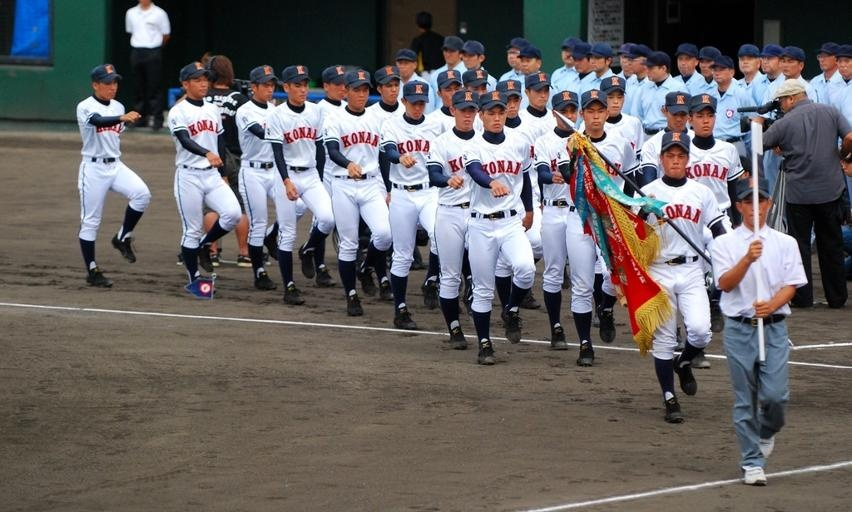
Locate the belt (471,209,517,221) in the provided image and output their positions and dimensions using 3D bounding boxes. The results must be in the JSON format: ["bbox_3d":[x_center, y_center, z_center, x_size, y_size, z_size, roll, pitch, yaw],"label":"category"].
[{"bbox_3d":[0.835,-0.499,16.011,0.548,0.115,0.129,1,1,-4],"label":"belt"}]

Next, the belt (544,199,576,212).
[{"bbox_3d":[1.676,-0.630,16.283,0.158,0.135,0.484,1,1,-37],"label":"belt"}]

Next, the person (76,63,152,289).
[{"bbox_3d":[-4.574,-1.183,18.797,1.031,3.283,1.237,2,0,-2],"label":"person"}]

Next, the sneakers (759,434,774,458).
[{"bbox_3d":[3.572,2.001,13.604,0.132,0.294,0.155,5,4,36],"label":"sneakers"}]

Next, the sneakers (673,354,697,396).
[{"bbox_3d":[2.999,1.386,15.051,0.227,0.516,0.251,-18,13,11],"label":"sneakers"}]

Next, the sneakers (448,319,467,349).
[{"bbox_3d":[0.403,1.008,16.512,0.245,0.366,0.260,2,0,4],"label":"sneakers"}]

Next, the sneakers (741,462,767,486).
[{"bbox_3d":[3.365,2.260,13.300,0.148,0.126,0.322,0,-2,-8],"label":"sneakers"}]

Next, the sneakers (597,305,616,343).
[{"bbox_3d":[2.317,0.886,16.664,0.201,0.452,0.205,-6,1,7],"label":"sneakers"}]

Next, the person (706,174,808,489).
[{"bbox_3d":[3.406,0.793,13.435,0.938,3.063,0.442,2,0,11],"label":"person"}]

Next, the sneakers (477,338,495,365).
[{"bbox_3d":[0.731,1.206,15.942,0.175,0.159,0.395,-1,8,0],"label":"sneakers"}]

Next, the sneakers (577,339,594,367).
[{"bbox_3d":[1.959,1.201,15.974,0.196,0.311,0.170,2,0,6],"label":"sneakers"}]

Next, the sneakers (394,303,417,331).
[{"bbox_3d":[-0.280,0.813,17.167,0.321,0.328,0.198,2,0,1],"label":"sneakers"}]

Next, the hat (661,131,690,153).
[{"bbox_3d":[2.813,-1.279,14.632,0.338,0.228,0.280,2,1,-8],"label":"hat"}]
